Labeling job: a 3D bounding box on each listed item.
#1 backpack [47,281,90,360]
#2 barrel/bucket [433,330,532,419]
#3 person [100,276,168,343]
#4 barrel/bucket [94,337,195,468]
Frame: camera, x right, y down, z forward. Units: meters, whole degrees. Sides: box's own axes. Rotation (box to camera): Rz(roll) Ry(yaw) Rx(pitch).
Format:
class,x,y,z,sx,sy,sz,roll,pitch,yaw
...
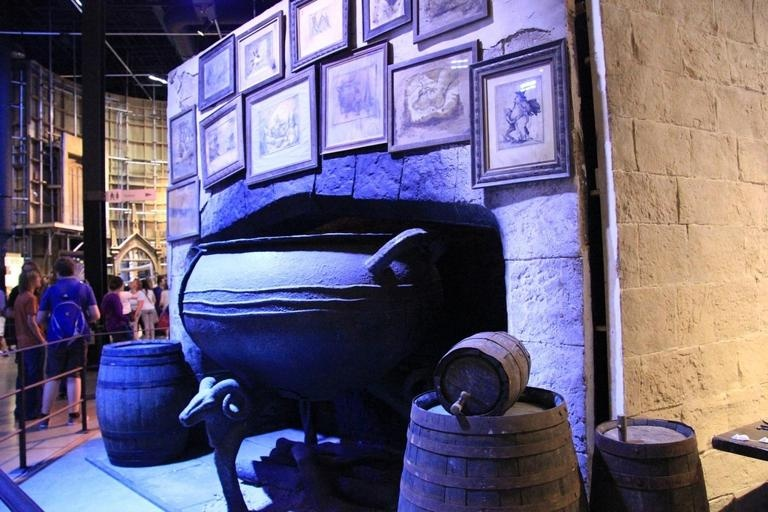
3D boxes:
class,x,y,z,sx,sy,sz,roll,pitch,yaw
backpack,-2.644,0.482,4.729,0.385,0.638,0.493,0,-2,-28
barrel/bucket,0.406,0.465,2.278,0.316,0.304,0.413,20,20,32
person,-2.895,0.615,6.408,0.478,0.793,1.991,0,-2,-22
barrel/bucket,-1.536,1.008,4.126,0.763,0.801,0.779,-1,1,0
